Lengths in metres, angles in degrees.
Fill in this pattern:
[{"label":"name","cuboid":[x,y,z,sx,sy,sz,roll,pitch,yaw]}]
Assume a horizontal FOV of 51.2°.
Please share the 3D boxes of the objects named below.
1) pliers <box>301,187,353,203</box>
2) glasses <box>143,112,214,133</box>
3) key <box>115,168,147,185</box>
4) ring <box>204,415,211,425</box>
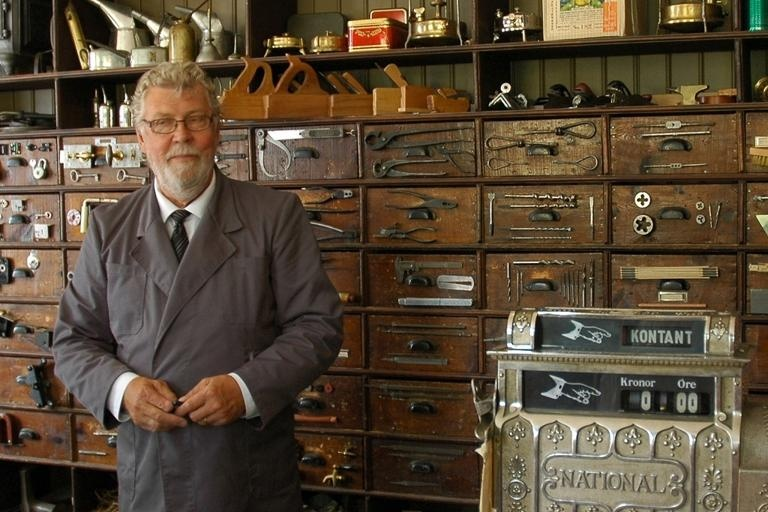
[{"label":"pliers","cuboid":[-0.322,-0.365,4.831,0.395,0.086,0.109,0,6,12]},{"label":"glasses","cuboid":[-0.890,-0.575,3.489,0.290,0.094,0.066,0,1,-12]},{"label":"key","cuboid":[-1.603,-0.504,5.123,0.191,0.058,0.091,8,-1,11]},{"label":"ring","cuboid":[-0.731,0.682,3.330,0.027,0.034,0.014,8,13,-6]}]
